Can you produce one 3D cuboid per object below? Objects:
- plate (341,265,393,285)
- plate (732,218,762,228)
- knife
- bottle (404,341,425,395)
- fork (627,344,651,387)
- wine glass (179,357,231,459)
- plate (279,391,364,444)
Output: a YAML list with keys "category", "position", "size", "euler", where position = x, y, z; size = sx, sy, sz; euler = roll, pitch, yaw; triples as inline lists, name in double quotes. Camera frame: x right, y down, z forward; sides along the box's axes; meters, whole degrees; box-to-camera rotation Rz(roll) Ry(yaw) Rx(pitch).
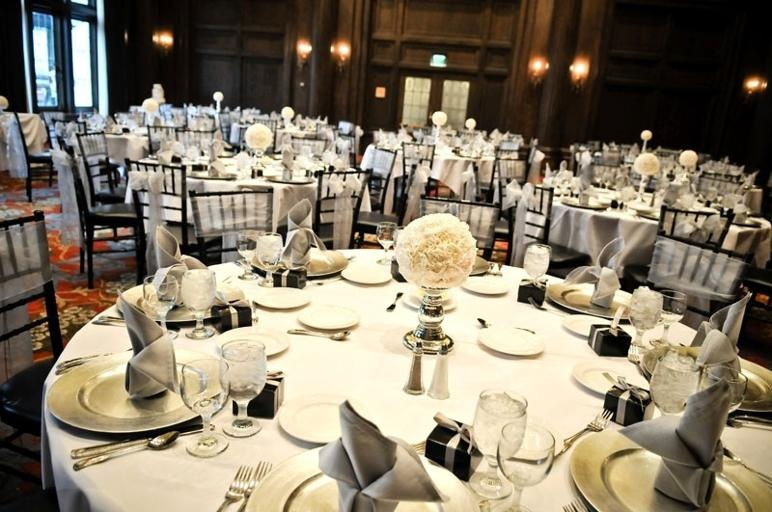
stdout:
- category: "plate"
  position: [-0.100, 0.096, 2.738]
  size: [0.140, 0.017, 0.144]
  euler: [8, 26, 8]
- category: "plate"
  position: [3.310, -0.302, 4.750]
  size: [0.181, 0.038, 0.183]
  euler: [-5, 14, -9]
- category: "knife"
  position: [-0.783, 0.582, 1.646]
  size: [0.373, 0.033, 0.052]
  euler: [-5, 38, -29]
- category: "bottle"
  position: [0.109, 0.408, 1.919]
  size: [0.073, 0.180, 0.090]
  euler: [4, 18, 2]
- category: "fork"
  position: [1.038, 0.434, 2.162]
  size: [0.057, 0.053, 0.339]
  euler: [5, 31, 14]
- category: "wine glass"
  position: [-0.580, 0.454, 1.665]
  size: [0.139, 0.290, 0.214]
  euler: [-4, 19, -22]
- category: "plate"
  position: [-0.220, 0.543, 1.756]
  size: [0.296, 0.075, 0.196]
  euler: [6, 18, 6]
